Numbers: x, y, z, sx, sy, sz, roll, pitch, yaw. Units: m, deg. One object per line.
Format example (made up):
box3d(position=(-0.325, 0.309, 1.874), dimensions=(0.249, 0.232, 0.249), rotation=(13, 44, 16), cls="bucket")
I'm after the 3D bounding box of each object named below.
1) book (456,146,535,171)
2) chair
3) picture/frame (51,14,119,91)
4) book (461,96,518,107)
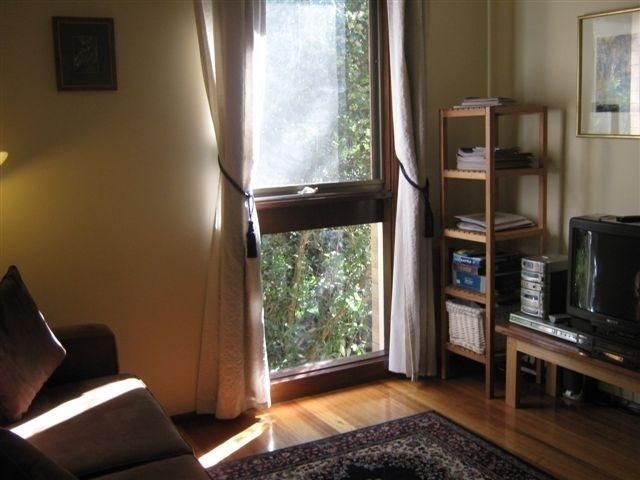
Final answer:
box3d(position=(1.139, -0.536, 3.444), dimensions=(0.463, 0.142, 0.269), rotation=(-6, 12, -19), cls="book")
box3d(position=(-1.157, 0.640, 2.543), dimensions=(0.297, 0.279, 0.314), rotation=(-8, 16, -18), cls="chair")
box3d(position=(-1.255, -0.996, 2.792), dimensions=(0.374, 0.481, 0.051), rotation=(-4, 5, -29), cls="picture/frame")
box3d(position=(1.057, -0.878, 3.365), dimensions=(0.282, 0.069, 0.259), rotation=(-11, 14, -39), cls="book")
